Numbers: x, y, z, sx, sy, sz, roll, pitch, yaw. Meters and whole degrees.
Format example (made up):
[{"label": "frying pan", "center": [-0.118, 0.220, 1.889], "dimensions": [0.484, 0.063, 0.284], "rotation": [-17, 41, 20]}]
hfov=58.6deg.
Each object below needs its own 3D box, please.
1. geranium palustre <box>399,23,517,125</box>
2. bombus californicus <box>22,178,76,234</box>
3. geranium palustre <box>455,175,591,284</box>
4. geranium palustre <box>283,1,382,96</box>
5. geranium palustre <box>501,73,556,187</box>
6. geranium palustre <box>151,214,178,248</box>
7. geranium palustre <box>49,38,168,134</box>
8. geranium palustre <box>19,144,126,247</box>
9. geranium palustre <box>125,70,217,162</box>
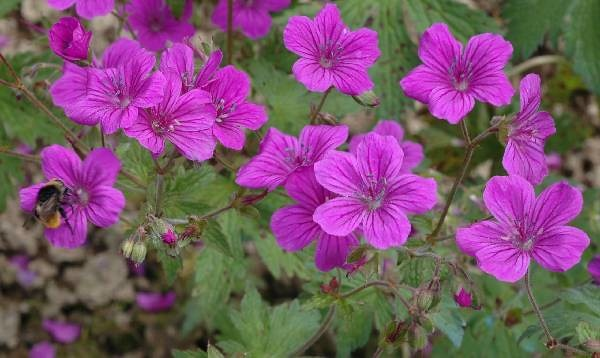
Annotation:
[{"label": "geranium palustre", "center": [0.663, -0.434, 2.179], "dimensions": [0.435, 0.088, 0.447], "rotation": [32, 83, 6]}, {"label": "bombus californicus", "center": [-1.005, 0.123, 2.162], "dimensions": [0.168, 0.061, 0.206], "rotation": [10, 79, 18]}, {"label": "geranium palustre", "center": [0.870, 0.193, 2.142], "dimensions": [0.518, 0.127, 0.411], "rotation": [-4, 81, 1]}, {"label": "geranium palustre", "center": [0.126, -0.536, 2.223], "dimensions": [0.401, 0.105, 0.378], "rotation": [12, 81, 3]}, {"label": "geranium palustre", "center": [0.917, -0.227, 2.258], "dimensions": [0.184, 0.410, 0.405], "rotation": [-11, 96, 5]}, {"label": "geranium palustre", "center": [-0.562, 0.214, 2.188], "dimensions": [0.154, 0.026, 0.076], "rotation": [32, 83, 6]}, {"label": "geranium palustre", "center": [-0.791, -0.311, 2.268], "dimensions": [0.445, 0.156, 0.464], "rotation": [-20, 67, -4]}, {"label": "geranium palustre", "center": [-0.905, 0.063, 2.192], "dimensions": [0.418, 0.129, 0.419], "rotation": [-26, 76, 4]}, {"label": "geranium palustre", "center": [-0.478, -0.228, 2.135], "dimensions": [0.345, 0.072, 0.313], "rotation": [28, 83, 5]}]
